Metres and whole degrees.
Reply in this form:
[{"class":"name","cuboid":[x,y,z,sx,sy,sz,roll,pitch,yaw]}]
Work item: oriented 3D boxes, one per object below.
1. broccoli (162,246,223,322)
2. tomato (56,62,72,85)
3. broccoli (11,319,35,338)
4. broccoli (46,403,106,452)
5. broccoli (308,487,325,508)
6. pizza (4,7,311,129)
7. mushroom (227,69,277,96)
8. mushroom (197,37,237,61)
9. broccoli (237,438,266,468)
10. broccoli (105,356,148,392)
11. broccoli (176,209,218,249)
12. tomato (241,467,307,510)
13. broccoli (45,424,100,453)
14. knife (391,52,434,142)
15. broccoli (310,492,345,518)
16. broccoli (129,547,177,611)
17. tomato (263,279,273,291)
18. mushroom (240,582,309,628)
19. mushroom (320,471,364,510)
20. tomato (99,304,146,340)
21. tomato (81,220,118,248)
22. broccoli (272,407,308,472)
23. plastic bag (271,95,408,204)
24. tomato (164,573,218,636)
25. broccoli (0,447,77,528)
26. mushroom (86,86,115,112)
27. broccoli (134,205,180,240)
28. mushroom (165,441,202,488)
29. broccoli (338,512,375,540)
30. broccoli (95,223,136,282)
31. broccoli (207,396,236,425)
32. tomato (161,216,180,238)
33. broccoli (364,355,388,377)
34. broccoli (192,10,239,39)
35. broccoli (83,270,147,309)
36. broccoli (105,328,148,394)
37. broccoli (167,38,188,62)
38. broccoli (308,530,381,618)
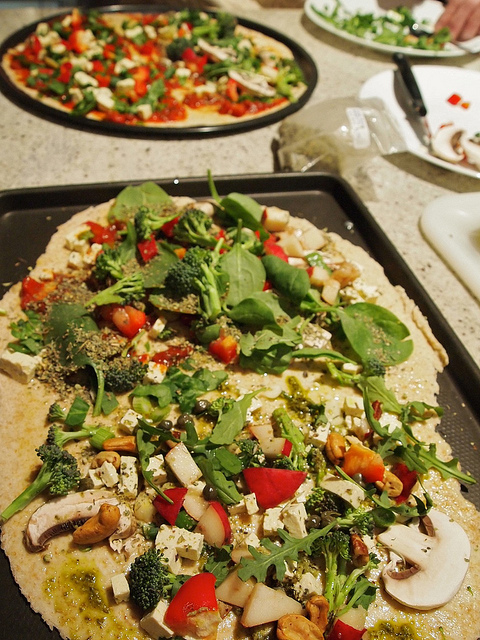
[{"class":"broccoli","cuboid":[-0.153,-0.127,2.082,0.206,0.142,0.261,-37,81,3]},{"class":"tomato","cuboid":[-0.996,-1.396,3.152,0.076,0.058,0.139,2,59,1]},{"class":"broccoli","cuboid":[-0.794,0.031,2.030,0.069,0.022,0.068,-28,72,-37]},{"class":"broccoli","cuboid":[-0.541,0.303,1.830,0.135,0.058,0.119,-37,101,-34]},{"class":"broccoli","cuboid":[0.228,0.536,1.699,0.022,0.047,0.046,38,63,0]},{"class":"pizza","cuboid":[-0.483,-1.525,3.362,1.752,0.222,1.253,-7,55,-18]},{"class":"mushroom","cuboid":[0.059,-1.424,3.278,0.254,0.056,0.154,32,23,20]},{"class":"mushroom","cuboid":[-0.155,-1.694,3.495,0.220,0.073,0.203,-27,56,-37]},{"class":"broccoli","cuboid":[0.036,0.403,1.771,0.089,0.057,0.091,43,18,-12]},{"class":"broccoli","cuboid":[-0.397,0.182,1.925,0.116,0.064,0.115,-8,46,-21]},{"class":"broccoli","cuboid":[-0.179,-0.361,2.206,0.177,0.128,0.138,24,33,23]},{"class":"tomato","cuboid":[0.090,0.509,1.693,0.175,0.106,0.098,12,53,-4]},{"class":"broccoli","cuboid":[-0.544,0.364,1.804,0.146,0.059,0.086,-5,36,-34]},{"class":"knife","cuboid":[0.975,-1.312,3.215,0.112,0.063,0.712,0,52,-9]},{"class":"broccoli","cuboid":[0.268,0.555,1.686,0.078,0.039,0.069,-5,84,15]},{"class":"broccoli","cuboid":[-0.241,0.712,1.537,0.159,0.129,0.127,13,48,-17]},{"class":"tomato","cuboid":[0.105,-0.134,2.169,0.035,0.038,0.039,2,61,1]},{"class":"mushroom","cuboid":[0.093,0.791,1.510,0.166,0.098,0.104,20,53,2]},{"class":"mushroom","cuboid":[0.286,0.487,1.634,0.133,0.035,0.069,29,81,31]},{"class":"tomato","cuboid":[-0.426,0.001,2.037,0.144,0.051,0.106,37,79,0]},{"class":"tomato","cuboid":[-0.571,-0.360,2.274,0.122,0.045,0.093,32,56,28]},{"class":"broccoli","cuboid":[0.171,0.384,1.807,0.061,0.160,0.157,-25,44,3]},{"class":"plastic bag","cuboid":[0.520,-0.841,2.840,0.569,0.545,0.372,20,72,-22]},{"class":"tomato","cuboid":[-0.131,0.736,1.488,0.057,0.117,0.148,52,38,-11]},{"class":"broccoli","cuboid":[-0.616,0.486,1.720,0.261,0.129,0.179,-38,96,-22]},{"class":"mushroom","cuboid":[-0.765,-1.185,3.025,0.163,0.040,0.145,-1,65,-14]},{"class":"broccoli","cuboid":[-0.306,-0.356,2.134,0.167,0.096,0.124,-5,59,3]},{"class":"mushroom","cuboid":[-0.180,0.444,1.720,0.079,0.061,0.131,-25,63,-28]},{"class":"broccoli","cuboid":[0.342,0.600,1.657,0.130,0.079,0.067,-1,86,-7]},{"class":"broccoli","cuboid":[-0.458,-0.231,2.090,0.153,0.093,0.220,6,85,5]},{"class":"broccoli","cuboid":[-0.070,0.298,1.858,0.066,0.029,0.077,-17,38,19]},{"class":"tomato","cuboid":[-0.282,-0.357,2.186,0.071,0.071,0.023,-37,34,-6]},{"class":"broccoli","cuboid":[0.500,0.165,2.045,0.029,0.080,0.072,-44,104,1]},{"class":"broccoli","cuboid":[-0.140,-1.926,3.735,0.231,0.106,0.271,13,36,8]},{"class":"broccoli","cuboid":[-0.446,-0.107,2.031,0.203,0.102,0.115,-17,30,1]},{"class":"broccoli","cuboid":[-0.405,0.154,1.982,0.117,0.080,0.183,20,69,-5]},{"class":"broccoli","cuboid":[-0.400,-1.677,3.470,0.119,0.142,0.061,16,54,-2]},{"class":"broccoli","cuboid":[0.268,0.711,1.586,0.219,0.172,0.229,-4,86,14]}]
